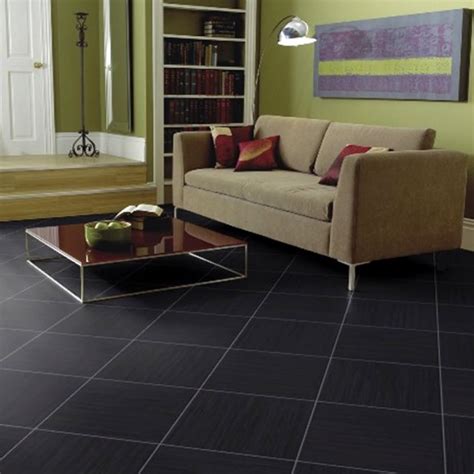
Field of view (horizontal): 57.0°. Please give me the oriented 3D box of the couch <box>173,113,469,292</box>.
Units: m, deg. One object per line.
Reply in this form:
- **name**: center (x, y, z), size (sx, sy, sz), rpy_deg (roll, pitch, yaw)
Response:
- **couch**: center (0.578, -0.414, 3.478), size (1.034, 1.096, 1.998), rpy_deg (-6, 13, -35)

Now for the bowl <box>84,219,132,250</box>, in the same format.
- **bowl**: center (-0.754, -0.015, 2.518), size (0.217, 0.097, 0.179), rpy_deg (0, 6, -12)

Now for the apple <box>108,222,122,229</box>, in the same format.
- **apple**: center (-0.711, -0.071, 2.532), size (0.051, 0.053, 0.050), rpy_deg (-2, -13, -7)

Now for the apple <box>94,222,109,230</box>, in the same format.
- **apple**: center (-0.780, -0.069, 2.513), size (0.060, 0.025, 0.060), rpy_deg (-8, 20, -33)
